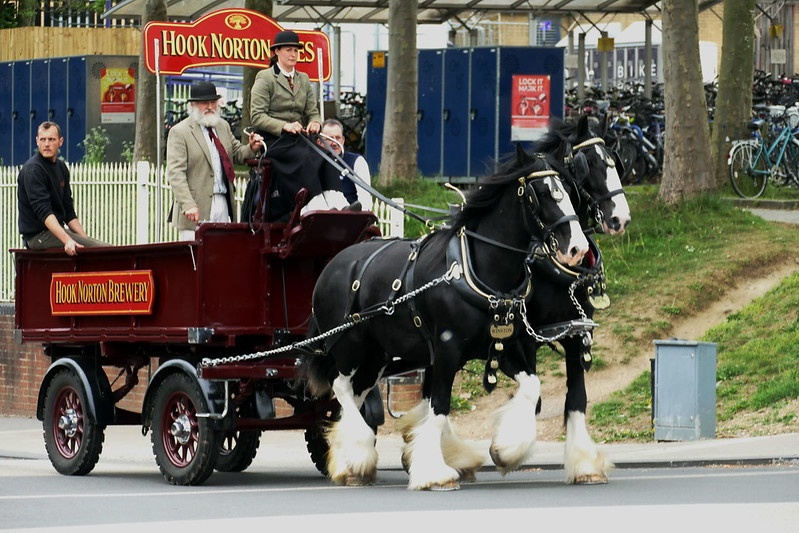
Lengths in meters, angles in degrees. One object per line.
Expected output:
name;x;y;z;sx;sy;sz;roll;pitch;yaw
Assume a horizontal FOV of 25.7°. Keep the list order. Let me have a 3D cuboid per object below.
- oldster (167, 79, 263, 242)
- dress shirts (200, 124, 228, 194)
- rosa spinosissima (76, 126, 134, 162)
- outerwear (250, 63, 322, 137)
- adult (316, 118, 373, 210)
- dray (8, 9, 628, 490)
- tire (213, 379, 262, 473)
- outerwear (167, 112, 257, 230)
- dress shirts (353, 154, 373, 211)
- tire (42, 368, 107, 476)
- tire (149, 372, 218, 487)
oldster;-2.736;-1.049;25.764;1.303;3.315;1.294;-7;21;-24
dress shirts;-2.668;-1.588;25.333;0.527;0.826;0.224;-2;-3;-9
rosa spinosissima;-6.616;-2.792;39.811;0.864;0.740;1.001;6;4;30
outerwear;-1.597;-2.393;25.364;1.014;1.116;0.772;2;6;-25
adult;-0.904;-1.332;26.344;0.815;1.770;1.991;-8;7;-1
dray;-0.836;0.327;25.579;8.762;5.531;4.748;0;-1;35
tire;-2.277;2.223;24.620;0.423;1.431;1.314;2;3;-28
outerwear;-2.751;-1.383;25.606;1.317;1.750;1.124;-11;16;-39
dress shirts;-0.523;-1.251;26.365;0.217;0.978;0.275;-7;-1;4
tire;-4.689;2.232;25.313;0.285;1.654;1.305;-4;8;-40
tire;-2.954;2.232;24.236;1.206;1.525;0.380;16;9;43
